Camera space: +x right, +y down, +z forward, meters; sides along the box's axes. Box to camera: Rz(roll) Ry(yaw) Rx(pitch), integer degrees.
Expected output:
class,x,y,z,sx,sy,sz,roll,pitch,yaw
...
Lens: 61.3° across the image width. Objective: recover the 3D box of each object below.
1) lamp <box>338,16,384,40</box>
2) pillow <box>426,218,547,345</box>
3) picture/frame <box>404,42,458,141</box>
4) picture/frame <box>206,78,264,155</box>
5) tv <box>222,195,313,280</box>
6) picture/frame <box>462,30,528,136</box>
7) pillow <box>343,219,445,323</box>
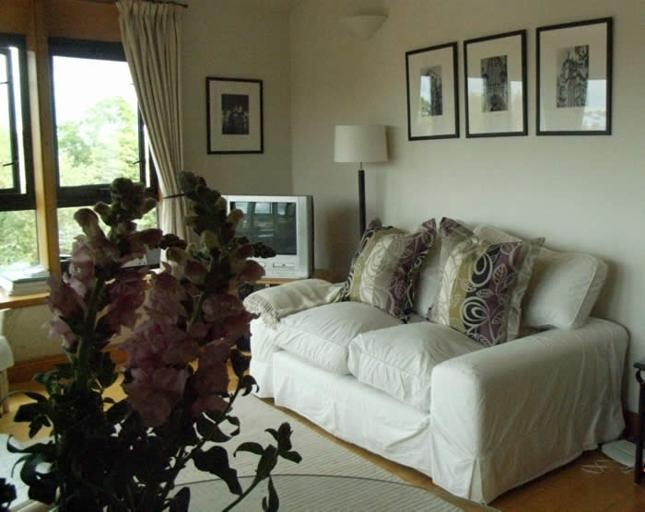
class,x,y,z,sx,sy,sz,roll,pitch,yaw
lamp,0.315,-1.756,4.182,0.375,0.158,0.129,7,14,34
pillow,0.884,0.171,2.910,0.169,0.559,0.550,20,6,-37
picture/frame,0.759,-1.125,3.792,0.096,0.632,0.491,-8,13,-31
picture/frame,-0.791,-1.237,4.765,0.621,0.761,0.054,-7,13,-34
tv,-0.244,-0.118,3.020,0.545,0.544,0.294,3,10,21
picture/frame,1.082,-1.060,3.406,0.071,0.606,0.472,-8,14,-32
pillow,0.459,0.077,3.430,0.578,0.634,0.185,9,-11,46
